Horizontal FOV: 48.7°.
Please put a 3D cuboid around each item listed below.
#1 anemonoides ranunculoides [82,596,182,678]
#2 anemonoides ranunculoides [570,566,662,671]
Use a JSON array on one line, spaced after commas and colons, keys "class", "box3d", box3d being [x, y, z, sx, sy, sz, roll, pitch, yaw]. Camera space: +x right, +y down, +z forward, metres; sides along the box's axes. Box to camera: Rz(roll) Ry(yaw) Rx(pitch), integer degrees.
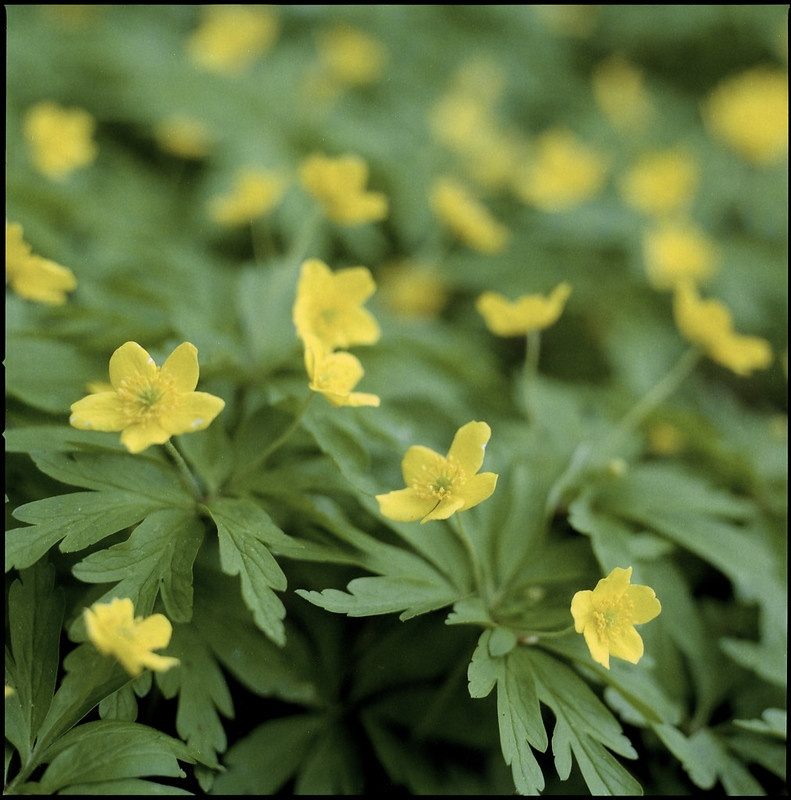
[{"class": "anemonoides ranunculoides", "box3d": [-0.293, 0.276, 0.968, 0.030, 0.099, 0.098, -38, 34, 22]}, {"class": "anemonoides ranunculoides", "box3d": [0.258, 0.259, 1.026, 0.102, 0.087, 0.076, -30, 46, -32]}]
